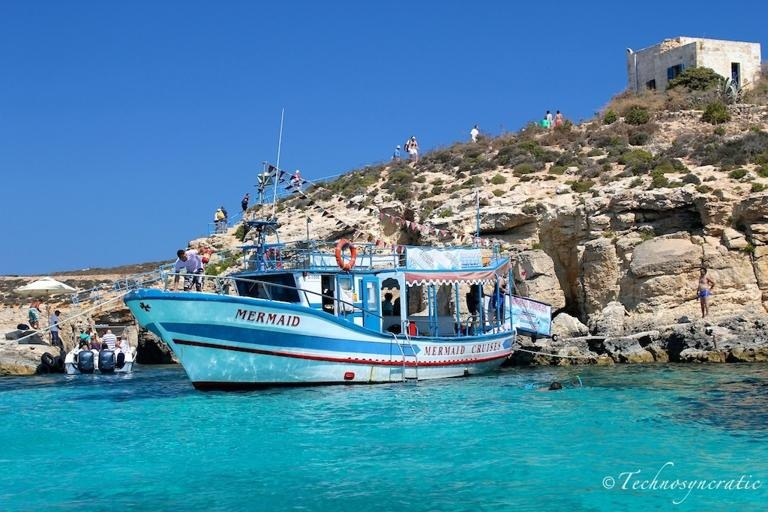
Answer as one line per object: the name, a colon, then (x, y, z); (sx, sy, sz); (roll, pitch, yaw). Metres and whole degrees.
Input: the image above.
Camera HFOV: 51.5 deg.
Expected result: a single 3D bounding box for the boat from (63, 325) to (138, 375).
boat: (-13.218, 4.431, 37.349); (2.156, 1.287, 3.324); (0, 7, -7)
